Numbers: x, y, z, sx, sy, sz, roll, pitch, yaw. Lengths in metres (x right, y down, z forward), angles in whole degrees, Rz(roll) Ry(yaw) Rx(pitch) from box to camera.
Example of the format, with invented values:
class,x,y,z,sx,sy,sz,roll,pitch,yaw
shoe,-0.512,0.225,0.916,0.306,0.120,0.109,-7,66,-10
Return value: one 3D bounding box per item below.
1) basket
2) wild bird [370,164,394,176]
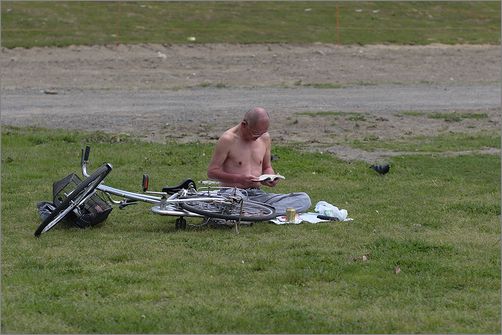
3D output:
class,x,y,z,sx,sy,sz,roll,pitch,yaw
basket,-5.286,1.178,32.963,2.115,1.156,0.766,41,-17,3
wild bird,4.183,0.080,35.534,0.769,0.354,0.227,11,-16,37
